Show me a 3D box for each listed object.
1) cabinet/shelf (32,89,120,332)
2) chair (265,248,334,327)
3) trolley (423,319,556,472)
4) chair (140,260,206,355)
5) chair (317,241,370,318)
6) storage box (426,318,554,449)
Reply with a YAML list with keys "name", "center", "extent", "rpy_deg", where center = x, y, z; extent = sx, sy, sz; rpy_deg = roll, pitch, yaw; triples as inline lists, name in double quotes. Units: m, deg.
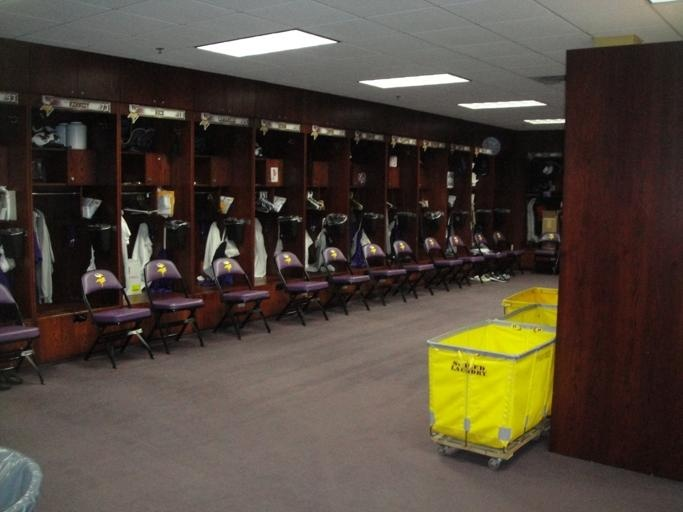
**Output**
- name: "cabinet/shelf"
  center: [-3.174, -0.572, 6.483]
  extent: [0.866, 2.170, 0.557]
  rpy_deg: [-2, 1, -30]
- name: "chair"
  center: [-0.560, 0.434, 7.929]
  extent: [0.676, 1.024, 0.770]
  rpy_deg: [-4, 3, -36]
- name: "trolley"
  center: [1.152, 0.973, 4.182]
  extent: [0.703, 0.788, 1.085]
  rpy_deg: [3, 6, 37]
- name: "chair"
  center: [-2.021, 0.568, 6.582]
  extent: [0.747, 1.016, 0.595]
  rpy_deg: [7, 6, 44]
- name: "chair"
  center: [0.088, 0.349, 8.641]
  extent: [0.731, 1.001, 0.827]
  rpy_deg: [-2, 2, -17]
- name: "storage box"
  center: [1.173, 0.938, 4.145]
  extent: [0.669, 0.681, 1.003]
  rpy_deg: [2, 4, 39]
